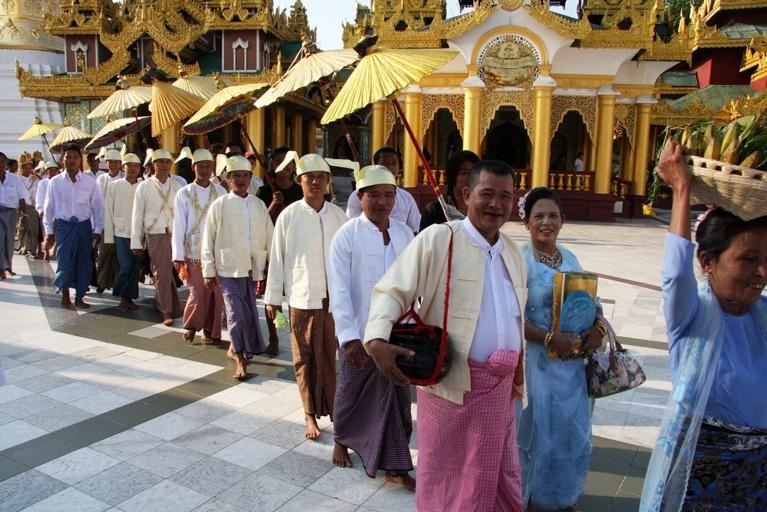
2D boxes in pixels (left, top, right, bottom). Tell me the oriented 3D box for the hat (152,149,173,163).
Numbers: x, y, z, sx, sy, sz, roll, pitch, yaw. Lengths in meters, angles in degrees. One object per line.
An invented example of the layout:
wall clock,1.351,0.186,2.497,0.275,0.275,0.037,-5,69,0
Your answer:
hat,-3.088,-1.405,8.763,0.196,0.128,0.207,7,11,20

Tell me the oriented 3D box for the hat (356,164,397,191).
hat,-0.068,-0.670,5.357,0.393,0.209,0.404,-3,6,0

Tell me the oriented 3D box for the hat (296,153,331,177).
hat,-0.682,-0.871,5.873,0.217,0.112,0.221,-7,16,-13

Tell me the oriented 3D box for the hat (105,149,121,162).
hat,-4.704,-1.737,10.943,0.320,0.223,0.443,2,6,-11

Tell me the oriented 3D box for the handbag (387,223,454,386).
handbag,0.260,0.334,4.097,0.410,0.971,0.457,3,14,5

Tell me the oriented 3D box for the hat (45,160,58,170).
hat,-7.028,-1.940,13.354,0.196,0.137,0.271,6,17,37

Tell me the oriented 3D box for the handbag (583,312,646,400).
handbag,1.737,0.756,4.862,0.237,0.576,0.398,-4,-15,-31
